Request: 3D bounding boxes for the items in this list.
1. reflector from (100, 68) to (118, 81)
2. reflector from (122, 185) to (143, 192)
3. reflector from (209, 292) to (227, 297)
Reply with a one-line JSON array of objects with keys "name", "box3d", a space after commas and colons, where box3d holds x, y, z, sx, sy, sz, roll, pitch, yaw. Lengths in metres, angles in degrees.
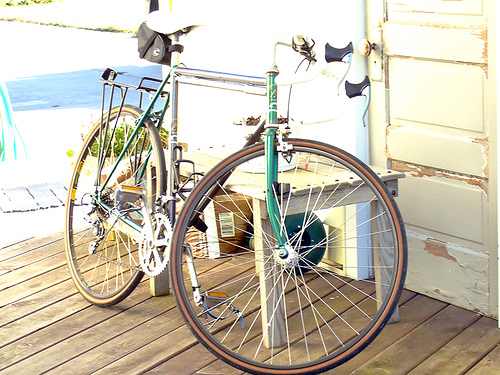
[{"name": "reflector", "box3d": [-0.744, -0.600, 2.613, 0.067, 0.064, 0.015, 32, 25, -52]}, {"name": "reflector", "box3d": [-0.598, 0.004, 2.541, 0.105, 0.022, 0.041, 2, 18, -7]}, {"name": "reflector", "box3d": [-0.143, 0.477, 2.236, 0.068, 0.022, 0.007, 9, -23, -25]}]
